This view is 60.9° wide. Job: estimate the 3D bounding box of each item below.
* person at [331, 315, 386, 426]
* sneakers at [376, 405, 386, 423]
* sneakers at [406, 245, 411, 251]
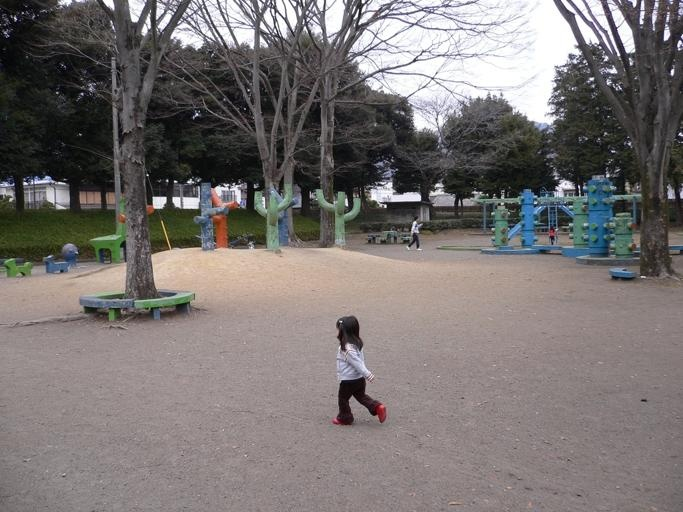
[{"bbox_3d":[0.195,1.200,6.272,0.565,1.114,0.463,-2,3,4],"label":"person"},{"bbox_3d":[0.429,1.646,6.191,0.110,0.205,0.286,-2,3,5],"label":"sneakers"},{"bbox_3d":[3.821,-0.491,32.884,0.128,0.165,0.385,31,0,18],"label":"sneakers"}]
